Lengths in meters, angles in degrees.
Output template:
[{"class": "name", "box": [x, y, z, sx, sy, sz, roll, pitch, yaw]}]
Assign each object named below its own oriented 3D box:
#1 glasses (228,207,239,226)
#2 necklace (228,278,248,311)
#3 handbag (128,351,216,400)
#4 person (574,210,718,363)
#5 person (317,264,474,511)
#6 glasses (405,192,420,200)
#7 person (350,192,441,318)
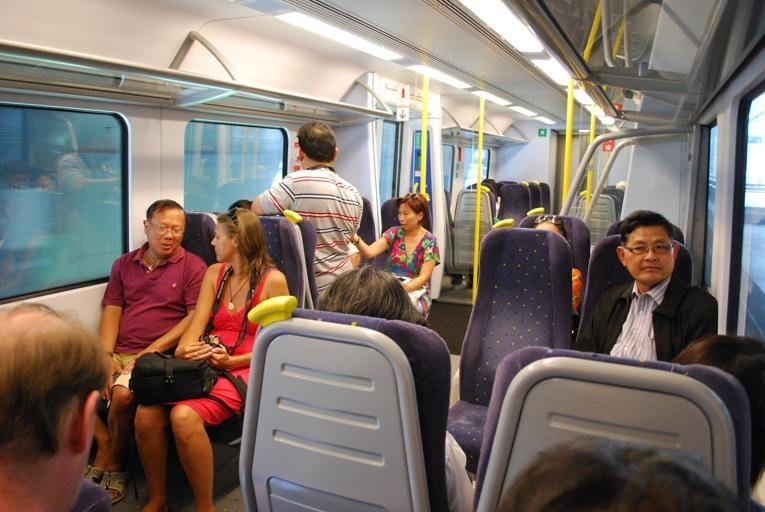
[{"class": "glasses", "box": [-1.011, -0.269, 3.485, 0.045, 0.127, 0.093, -4, -8, 17]}, {"class": "necklace", "box": [-0.950, 0.260, 3.469, 0.146, 0.216, 0.059, 1, -6, 29]}, {"class": "handbag", "box": [-1.288, 0.745, 3.169, 0.477, 0.267, 0.419, -1, -2, -19]}, {"class": "person", "box": [1.440, 0.320, 2.874, 0.734, 1.075, 0.604, 1, -6, 39]}, {"class": "person", "box": [0.042, 0.552, 2.097, 0.681, 0.995, 0.344, 3, 5, 6]}, {"class": "glasses", "box": [0.273, -0.559, 4.843, 0.082, 0.074, 0.110, 1, 1, 16]}, {"class": "person", "box": [0.090, 0.247, 4.885, 0.780, 1.542, 0.776, 6, 18, 14]}]
